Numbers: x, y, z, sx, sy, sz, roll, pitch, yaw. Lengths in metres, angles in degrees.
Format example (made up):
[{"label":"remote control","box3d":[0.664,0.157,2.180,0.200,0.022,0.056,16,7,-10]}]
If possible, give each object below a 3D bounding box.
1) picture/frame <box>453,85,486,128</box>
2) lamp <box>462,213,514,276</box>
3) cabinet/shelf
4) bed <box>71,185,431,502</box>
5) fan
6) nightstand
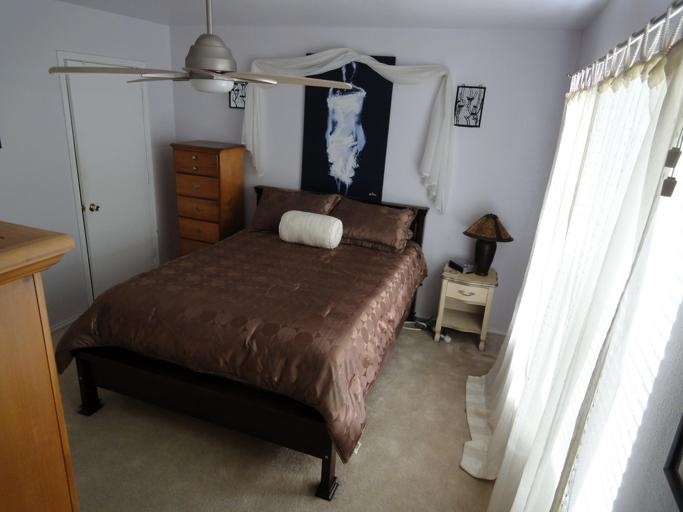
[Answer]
[{"label":"picture/frame","box3d":[1.178,-1.383,4.592,0.297,0.464,0.043,9,28,17]},{"label":"lamp","box3d":[1.298,-0.097,4.570,0.378,0.559,0.286,4,18,-1]},{"label":"cabinet/shelf","box3d":[-1.452,-0.606,5.340,0.604,1.348,0.520,17,37,13]},{"label":"bed","box3d":[-0.464,0.315,4.197,2.013,1.366,2.591,12,22,19]},{"label":"fan","box3d":[-1.187,-1.815,4.317,1.053,0.514,1.173,13,20,29]},{"label":"nightstand","box3d":[1.176,0.463,4.768,0.493,0.666,0.493,10,19,17]}]
